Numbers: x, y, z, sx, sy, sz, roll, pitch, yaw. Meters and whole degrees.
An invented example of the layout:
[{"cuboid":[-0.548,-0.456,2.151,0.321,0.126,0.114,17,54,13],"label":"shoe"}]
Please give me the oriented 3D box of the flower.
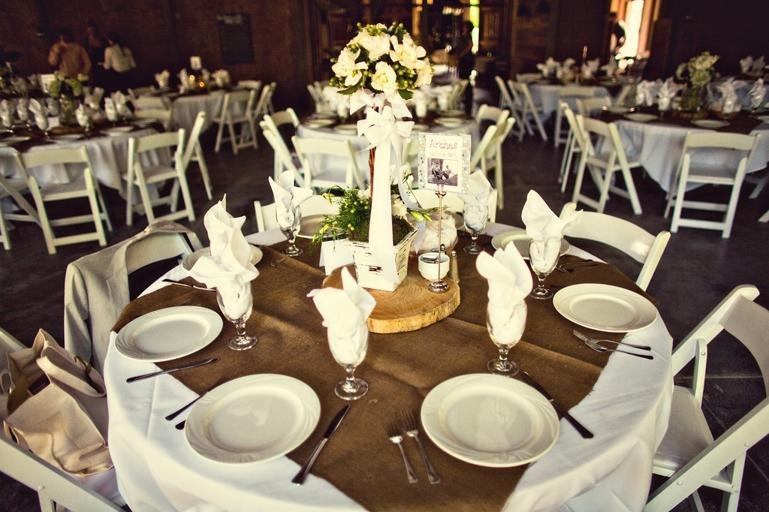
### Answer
[{"cuboid":[-0.027,-0.809,2.330,0.372,0.349,0.248,-1,-17,-11],"label":"flower"}]
